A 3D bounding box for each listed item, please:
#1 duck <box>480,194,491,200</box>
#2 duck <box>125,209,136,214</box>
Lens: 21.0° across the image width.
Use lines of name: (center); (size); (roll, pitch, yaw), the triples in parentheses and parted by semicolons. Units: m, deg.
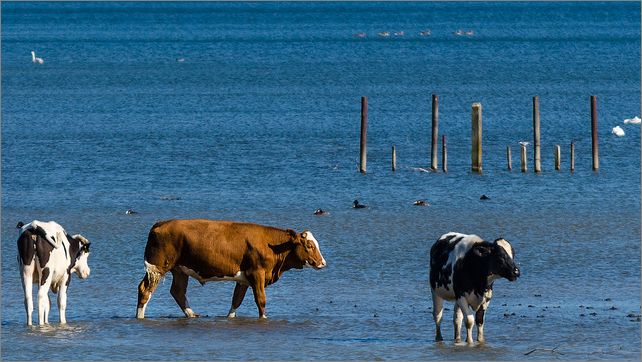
duck: (25.289, 2.053, 267.397); (0.874, 0.286, 0.788); (-17, 33, -26)
duck: (-28.797, 4.311, 263.472); (1.830, 0.577, 0.574); (4, -9, 18)
